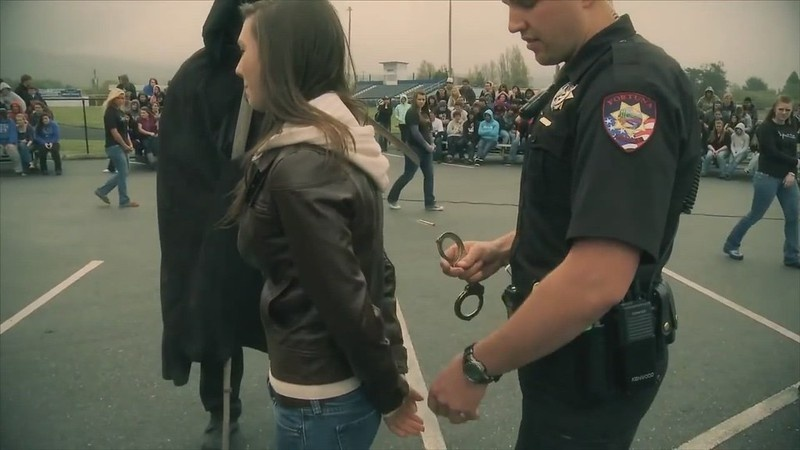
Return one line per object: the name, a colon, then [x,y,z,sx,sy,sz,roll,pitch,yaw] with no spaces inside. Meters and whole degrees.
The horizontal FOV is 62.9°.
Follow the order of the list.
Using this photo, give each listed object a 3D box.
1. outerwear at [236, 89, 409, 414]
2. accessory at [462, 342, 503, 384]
outerwear: [-0.420,0.265,3.683,0.893,1.615,0.502,-5,16,-13]
accessory: [0.433,0.727,3.425,0.192,0.122,0.189,46,32,20]
